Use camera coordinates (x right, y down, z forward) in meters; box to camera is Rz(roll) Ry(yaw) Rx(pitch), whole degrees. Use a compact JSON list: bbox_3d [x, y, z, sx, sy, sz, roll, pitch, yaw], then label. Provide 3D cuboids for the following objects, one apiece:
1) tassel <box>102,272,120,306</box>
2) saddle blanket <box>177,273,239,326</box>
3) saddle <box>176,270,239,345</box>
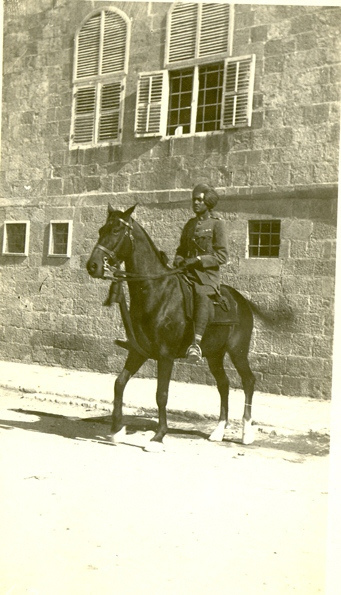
[{"bbox_3d":[-0.562,-0.041,9.247,0.115,0.199,0.175,6,-3,-5],"label":"tassel"},{"bbox_3d":[0.352,-0.026,9.630,0.501,0.546,0.495,5,10,35],"label":"saddle blanket"},{"bbox_3d":[0.586,0.101,9.766,0.320,0.778,1.087,-11,-22,36],"label":"saddle"}]
